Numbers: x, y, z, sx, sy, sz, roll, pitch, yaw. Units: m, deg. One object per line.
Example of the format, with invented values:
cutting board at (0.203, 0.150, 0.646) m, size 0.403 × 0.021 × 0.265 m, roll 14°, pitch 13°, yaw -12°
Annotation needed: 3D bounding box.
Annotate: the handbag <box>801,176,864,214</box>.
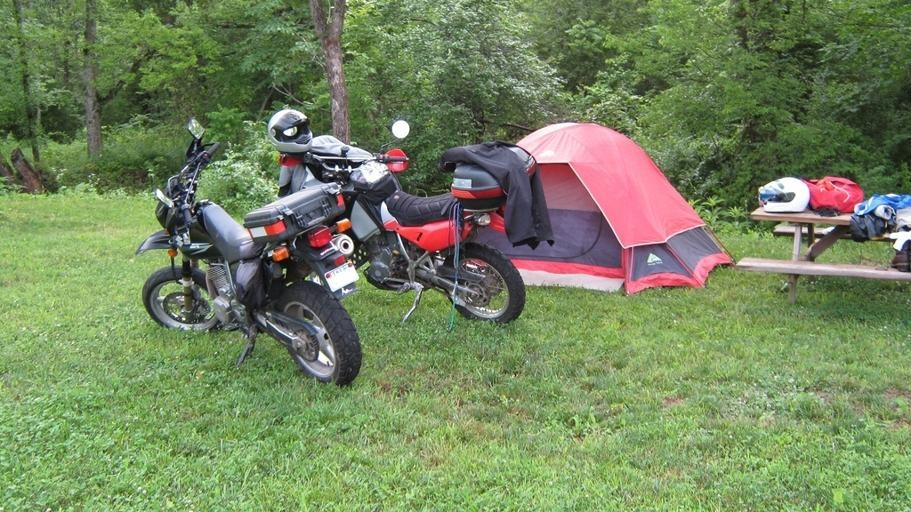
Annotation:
handbag at (7.430, -1.210, 14.305) m, size 0.901 × 0.506 × 1.214 m, roll -11°, pitch 6°, yaw 37°
